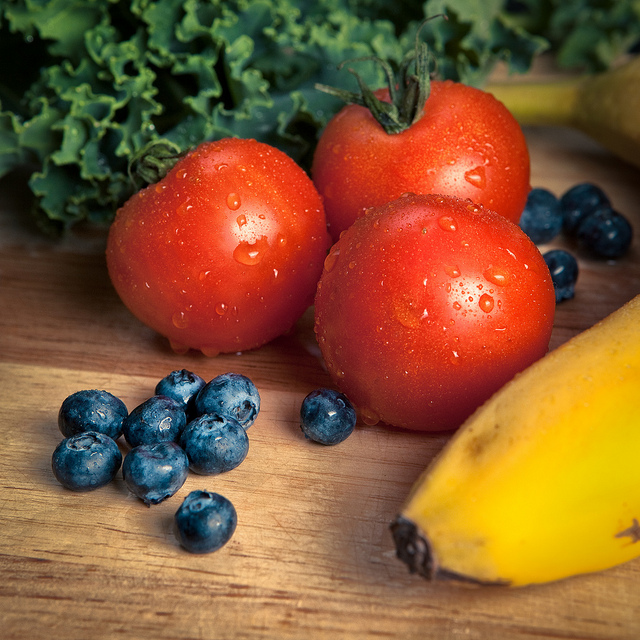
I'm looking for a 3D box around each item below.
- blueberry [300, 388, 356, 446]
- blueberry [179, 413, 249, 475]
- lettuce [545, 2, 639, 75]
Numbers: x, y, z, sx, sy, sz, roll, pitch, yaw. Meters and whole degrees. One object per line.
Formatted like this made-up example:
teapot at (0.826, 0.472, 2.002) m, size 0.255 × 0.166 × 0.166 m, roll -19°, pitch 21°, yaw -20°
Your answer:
blueberry at (0.008, 0.128, 0.928) m, size 0.059 × 0.058 × 0.072 m, roll -40°, pitch 24°, yaw -10°
blueberry at (-0.135, 0.156, 0.902) m, size 0.077 × 0.059 × 0.079 m, roll -24°, pitch 62°, yaw -20°
lettuce at (0.595, -0.618, 1.556) m, size 0.047 × 0.159 × 0.150 m, roll -23°, pitch 25°, yaw -31°
